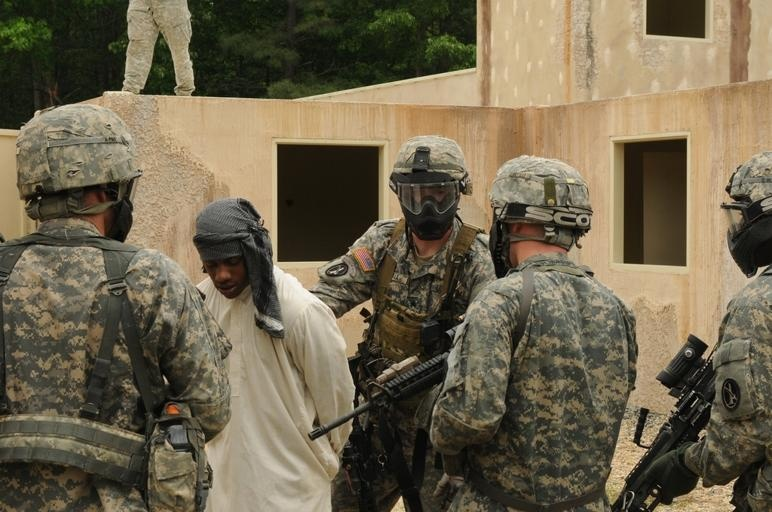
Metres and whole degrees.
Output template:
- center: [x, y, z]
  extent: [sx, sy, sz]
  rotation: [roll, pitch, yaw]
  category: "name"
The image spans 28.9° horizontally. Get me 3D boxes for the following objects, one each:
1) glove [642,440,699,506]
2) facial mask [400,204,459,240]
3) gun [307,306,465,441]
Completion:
- center: [2.599, 1.930, 13.496]
  extent: [0.549, 0.531, 0.397]
  rotation: [9, 13, 37]
  category: "glove"
- center: [0.412, -0.316, 13.928]
  extent: [0.320, 0.233, 0.410]
  rotation: [0, -4, 4]
  category: "facial mask"
- center: [0.026, 1.094, 13.551]
  extent: [2.021, 0.636, 0.280]
  rotation: [-27, 31, -25]
  category: "gun"
